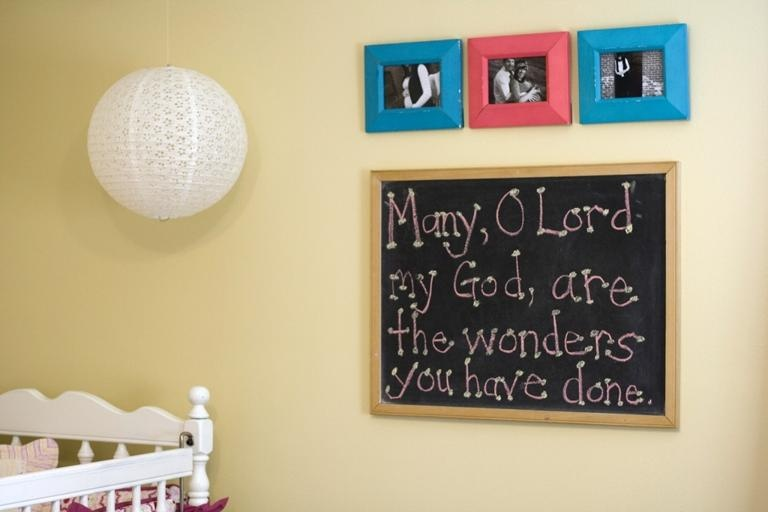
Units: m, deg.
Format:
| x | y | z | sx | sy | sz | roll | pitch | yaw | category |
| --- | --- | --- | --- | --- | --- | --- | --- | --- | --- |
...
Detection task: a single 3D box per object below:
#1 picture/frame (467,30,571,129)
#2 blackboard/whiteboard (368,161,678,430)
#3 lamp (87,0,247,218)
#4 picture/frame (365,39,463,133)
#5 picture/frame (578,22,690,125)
| x | y | z | sx | sy | sz | roll | pitch | yaw | category |
| --- | --- | --- | --- | --- | --- | --- | --- | --- | --- |
| 0.514 | -0.650 | 2.727 | 0.355 | 0.322 | 0.038 | 1 | 0 | 5 | picture/frame |
| 0.563 | 0.158 | 2.721 | 0.968 | 0.811 | 0.039 | 0 | 0 | 15 | blackboard/whiteboard |
| -0.781 | -0.462 | 2.731 | 0.543 | 1.157 | 0.537 | 1 | -5 | -28 | lamp |
| 0.106 | -0.643 | 2.812 | 0.356 | 0.319 | 0.195 | -3 | 3 | -2 | picture/frame |
| 0.923 | -0.659 | 2.670 | 0.361 | 0.333 | 0.051 | -1 | -2 | 9 | picture/frame |
